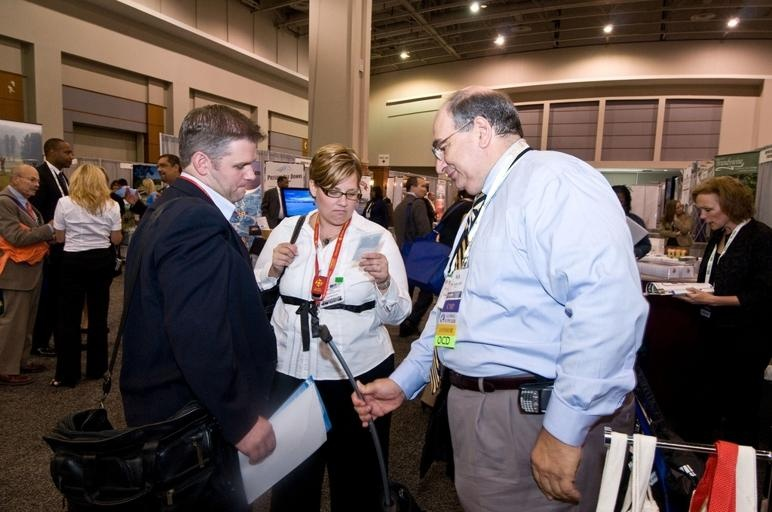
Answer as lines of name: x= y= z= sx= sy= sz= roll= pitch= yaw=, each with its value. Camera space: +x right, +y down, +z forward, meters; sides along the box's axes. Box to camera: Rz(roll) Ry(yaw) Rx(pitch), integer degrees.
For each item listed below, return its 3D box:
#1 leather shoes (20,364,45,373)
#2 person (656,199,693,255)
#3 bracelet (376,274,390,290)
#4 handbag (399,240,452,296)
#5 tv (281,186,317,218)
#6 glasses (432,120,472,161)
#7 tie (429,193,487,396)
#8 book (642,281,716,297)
leather shoes: x=-3.314 y=1.066 z=4.850 sx=0.157 sy=0.067 sz=0.074 roll=-2 pitch=4 yaw=-24
person: x=4.575 y=-0.249 z=8.179 sx=0.454 sy=1.250 sz=0.477 roll=1 pitch=8 yaw=13
bracelet: x=-0.012 y=0.142 z=2.771 sx=0.077 sy=0.080 sz=0.061 roll=7 pitch=17 yaw=34
handbag: x=0.349 y=0.081 z=3.612 sx=0.182 sy=0.379 sz=0.378 roll=19 pitch=-2 yaw=-10
tv: x=-0.922 y=-0.571 z=5.405 sx=0.062 sy=0.434 sz=0.577 roll=0 pitch=4 yaw=39
glasses: x=0.296 y=-0.573 z=2.418 sx=0.165 sy=0.049 sz=0.161 roll=-41 pitch=-2 yaw=5
tie: x=0.428 y=0.174 z=2.739 sx=0.289 sy=1.246 sz=0.119 roll=23 pitch=-33 yaw=-17
book: x=2.102 y=0.255 z=3.716 sx=0.446 sy=0.128 sz=0.294 roll=-1 pitch=9 yaw=-13
